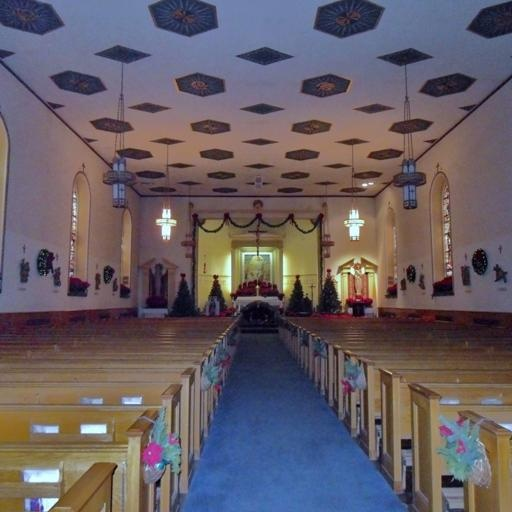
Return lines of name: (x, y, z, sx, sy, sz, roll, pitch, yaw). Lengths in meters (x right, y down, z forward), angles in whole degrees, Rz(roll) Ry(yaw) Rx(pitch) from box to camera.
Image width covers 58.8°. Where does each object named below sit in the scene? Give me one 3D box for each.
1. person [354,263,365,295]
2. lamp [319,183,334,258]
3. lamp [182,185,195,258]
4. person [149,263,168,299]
person: (3.926, 0.857, 16.960, 0.410, 1.202, 0.115, -2, -3, -17)
lamp: (2.666, -1.118, 16.878, 0.449, 2.387, 0.656, -3, -3, 9)
lamp: (-2.497, -1.091, 16.766, 0.471, 2.428, 0.494, -2, -3, -1)
person: (-3.658, 0.899, 17.011, 0.702, 1.220, 0.500, -2, -3, -15)
